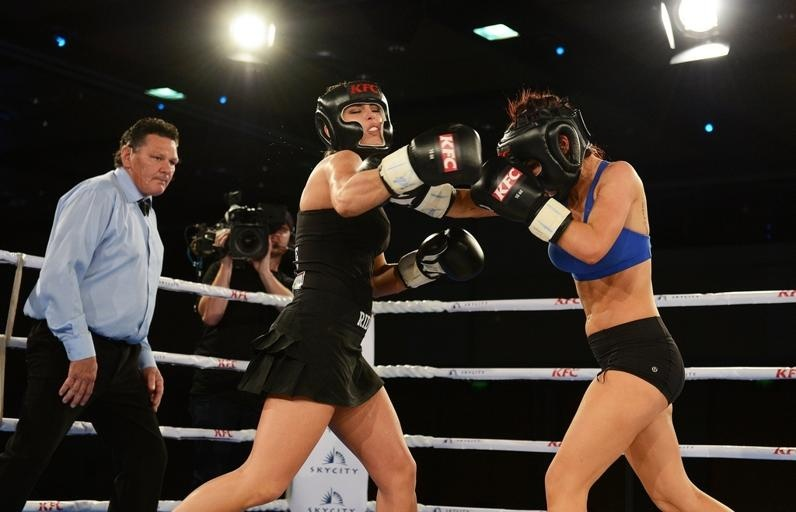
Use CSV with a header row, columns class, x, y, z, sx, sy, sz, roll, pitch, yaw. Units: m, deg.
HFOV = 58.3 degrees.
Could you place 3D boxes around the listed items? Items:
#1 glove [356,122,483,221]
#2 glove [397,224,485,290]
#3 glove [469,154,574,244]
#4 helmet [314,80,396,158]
class,x,y,z,sx,sy,sz,roll,pitch,yaw
glove,0.140,-0.463,3.709,0.595,0.466,0.313,5,0,6
glove,0.215,0.015,4.097,0.428,0.332,0.198,-4,-50,32
glove,0.641,-0.296,3.729,0.537,0.323,0.195,32,0,4
helmet,-0.197,-0.760,3.994,0.381,0.401,0.433,4,-13,-40
